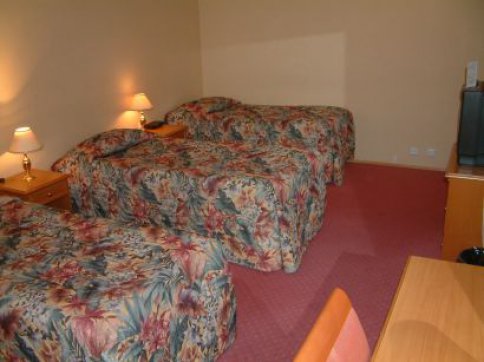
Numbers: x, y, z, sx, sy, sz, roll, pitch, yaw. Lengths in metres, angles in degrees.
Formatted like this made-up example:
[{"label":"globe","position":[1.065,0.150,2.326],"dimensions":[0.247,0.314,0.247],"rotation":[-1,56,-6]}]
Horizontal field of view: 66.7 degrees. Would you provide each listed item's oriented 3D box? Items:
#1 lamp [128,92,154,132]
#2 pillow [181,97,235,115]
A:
[{"label":"lamp","position":[-1.257,-0.871,4.632],"dimensions":[0.289,0.421,0.276],"rotation":[-8,7,-11]},{"label":"pillow","position":[-0.427,-1.129,5.398],"dimensions":[0.367,0.127,0.618],"rotation":[20,30,39]}]
